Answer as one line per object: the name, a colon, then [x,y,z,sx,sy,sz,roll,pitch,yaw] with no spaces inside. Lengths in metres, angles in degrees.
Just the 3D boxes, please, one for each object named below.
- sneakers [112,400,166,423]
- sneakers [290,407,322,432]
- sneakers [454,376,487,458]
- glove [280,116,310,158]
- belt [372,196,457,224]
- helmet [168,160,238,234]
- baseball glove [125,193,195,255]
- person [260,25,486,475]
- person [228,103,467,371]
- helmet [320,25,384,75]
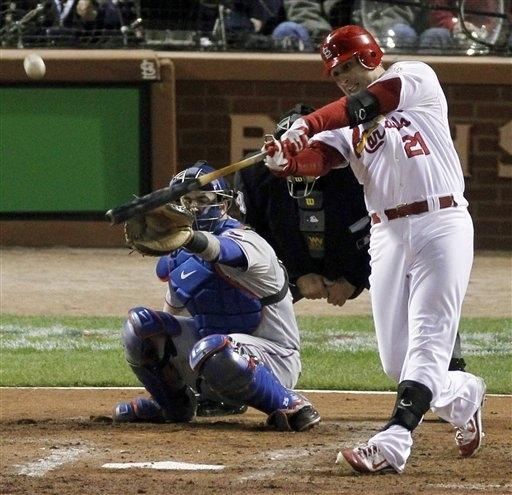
sneakers: [-0.676,0.967,7.632,0.233,0.085,0.153,3,3,-9]
sneakers: [0.282,0.974,7.322,0.109,0.097,0.184,-34,-6,-6]
sneakers: [1.165,0.924,7.047,0.207,0.424,0.152,-6,24,-21]
glove: [0.215,-0.581,6.791,0.123,0.193,0.191,-8,7,-37]
belt: [0.868,-0.207,6.858,0.385,0.116,0.068,-2,6,5]
helmet: [-0.242,-0.301,7.516,0.384,0.340,0.386,-5,31,19]
baseball glove: [-0.577,-0.122,6.887,0.324,0.171,0.374,5,-37,-46]
person: [0.690,-0.016,6.866,0.943,2.343,0.699,-3,6,8]
person: [0.557,-0.135,8.528,1.518,1.565,0.596,-5,11,21]
helmet: [0.511,-1.057,7.025,0.305,0.212,0.217,-34,2,-9]
